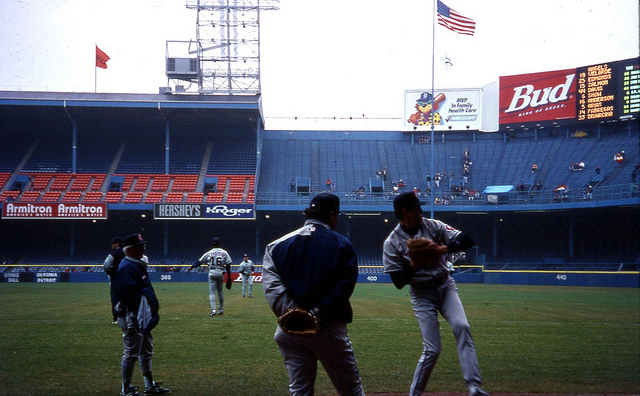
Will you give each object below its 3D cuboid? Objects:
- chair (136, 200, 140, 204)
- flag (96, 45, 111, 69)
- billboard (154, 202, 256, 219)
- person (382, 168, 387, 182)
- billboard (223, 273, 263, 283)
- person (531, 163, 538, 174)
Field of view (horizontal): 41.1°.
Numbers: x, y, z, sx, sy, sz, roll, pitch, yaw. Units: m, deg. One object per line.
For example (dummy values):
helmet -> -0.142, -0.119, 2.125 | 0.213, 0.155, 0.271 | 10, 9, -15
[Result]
chair -> -15.753, 0.355, 73.779 | 0.265, 0.364, 0.616 | 1, -4, -12
flag -> -19.030, -12.159, 74.559 | 1.013, 1.787, 2.078 | 1, -4, -14
billboard -> -9.525, 1.213, 71.924 | 7.166, 1.427, 0.992 | -1, 2, 4
person -> 5.932, -2.072, 79.028 | 0.400, 1.189, 0.912 | -1, -4, 5
billboard -> -6.315, 6.525, 69.679 | 2.350, 0.811, 4.428 | -1, -4, 10
person -> 19.287, -2.651, 77.138 | 0.572, 0.710, 0.188 | 9, -17, 37
